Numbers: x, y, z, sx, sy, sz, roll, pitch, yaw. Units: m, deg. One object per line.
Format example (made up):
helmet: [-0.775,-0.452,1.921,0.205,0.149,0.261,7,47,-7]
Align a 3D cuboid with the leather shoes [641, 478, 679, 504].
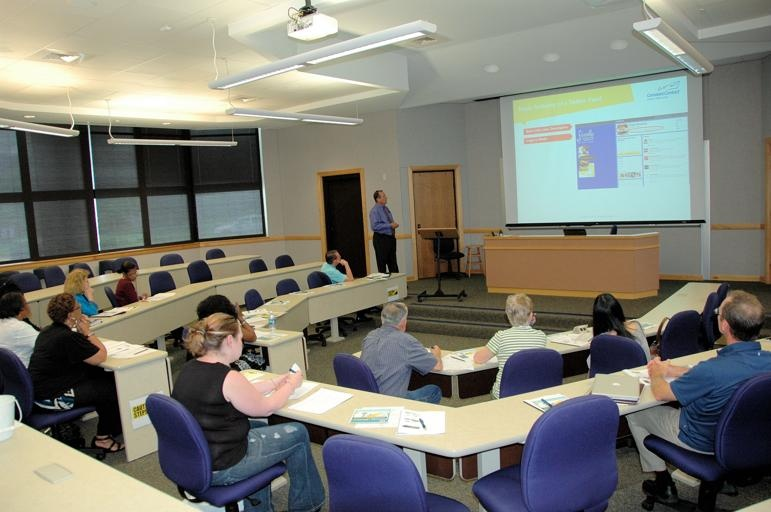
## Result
leather shoes: [2.107,1.775,3.825,0.285,0.180,0.163,-7,-6,42]

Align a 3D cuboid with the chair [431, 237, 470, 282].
chair: [1.257,-0.004,9.778,0.569,0.836,0.612,-4,-2,10]

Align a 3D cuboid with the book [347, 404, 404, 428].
book: [-0.070,1.117,3.428,0.355,0.039,0.279,-4,6,7]

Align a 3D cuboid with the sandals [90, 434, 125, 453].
sandals: [-2.720,1.820,4.791,0.300,0.106,0.147,2,8,-5]

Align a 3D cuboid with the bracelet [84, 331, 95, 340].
bracelet: [-2.871,0.767,4.740,0.114,0.035,0.064,8,8,41]

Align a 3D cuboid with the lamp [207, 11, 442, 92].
lamp: [-0.684,-2.134,5.210,2.672,0.265,0.546,0,8,37]

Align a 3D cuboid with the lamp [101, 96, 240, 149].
lamp: [-4.490,-2.742,10.651,0.237,0.940,3.024,31,27,33]

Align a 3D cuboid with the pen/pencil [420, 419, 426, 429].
pen/pencil: [0.246,1.123,3.314,0.020,0.014,0.070,-23,39,-15]

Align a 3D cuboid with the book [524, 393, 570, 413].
book: [1.161,1.022,3.488,0.305,0.054,0.207,-7,7,-21]

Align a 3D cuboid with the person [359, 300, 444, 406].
person: [0.060,0.910,4.319,0.775,0.878,0.724,6,1,40]

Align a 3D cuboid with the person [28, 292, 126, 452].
person: [-2.903,1.147,4.558,0.632,1.583,0.441,-10,8,-34]

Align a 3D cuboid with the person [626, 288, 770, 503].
person: [2.200,1.083,3.477,0.886,1.645,0.536,-2,8,26]

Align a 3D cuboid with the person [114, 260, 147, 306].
person: [-3.762,0.457,7.233,0.418,0.682,0.416,10,9,10]

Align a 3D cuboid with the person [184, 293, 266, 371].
person: [-1.460,0.703,4.544,0.461,0.259,1.161,0,5,-5]

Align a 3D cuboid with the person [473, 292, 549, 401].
person: [1.067,0.767,4.167,0.597,0.833,0.624,-6,7,-5]
